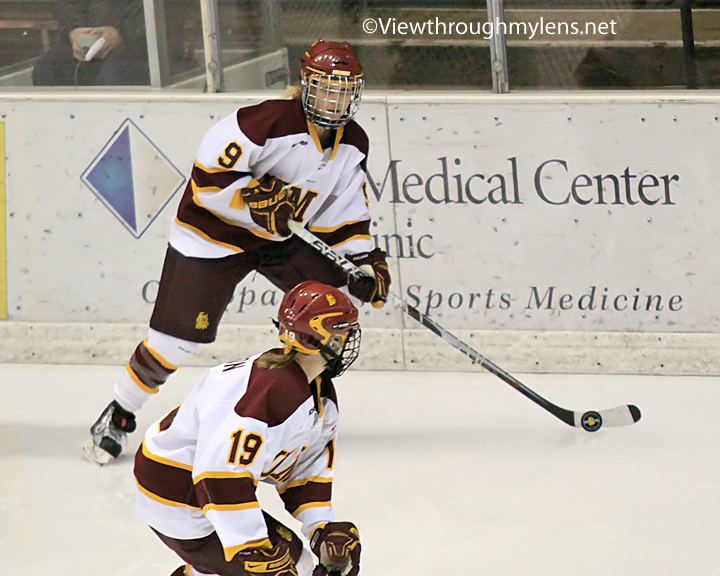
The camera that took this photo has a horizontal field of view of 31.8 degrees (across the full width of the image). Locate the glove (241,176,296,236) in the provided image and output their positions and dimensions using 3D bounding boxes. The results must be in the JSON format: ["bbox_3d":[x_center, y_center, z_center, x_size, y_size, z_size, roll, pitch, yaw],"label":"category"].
[{"bbox_3d":[-0.361,-0.328,4.974,0.177,0.253,0.098,-14,-3,18],"label":"glove"}]

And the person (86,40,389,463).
[{"bbox_3d":[-0.498,-0.225,5.370,1.013,1.804,0.903,27,35,15],"label":"person"}]

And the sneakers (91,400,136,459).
[{"bbox_3d":[-1.057,0.624,5.446,0.158,0.258,0.066,30,-10,11],"label":"sneakers"}]

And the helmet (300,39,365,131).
[{"bbox_3d":[-0.129,-0.800,4.968,0.243,0.331,0.334,-1,36,-16],"label":"helmet"}]

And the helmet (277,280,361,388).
[{"bbox_3d":[-0.109,0.158,4.400,0.260,0.342,0.347,7,5,34],"label":"helmet"}]
